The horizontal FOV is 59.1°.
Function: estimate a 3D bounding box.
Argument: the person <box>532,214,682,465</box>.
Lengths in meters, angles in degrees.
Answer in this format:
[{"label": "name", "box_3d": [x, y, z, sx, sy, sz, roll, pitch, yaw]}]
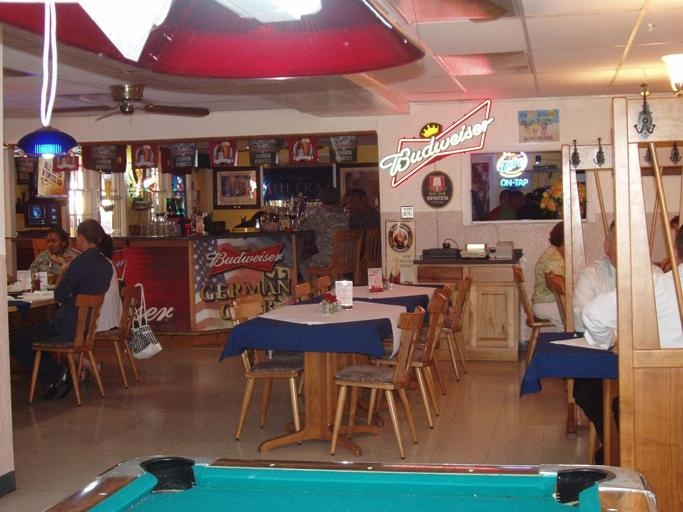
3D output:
[{"label": "person", "box_3d": [1.739, 0.546, 3.707, 0.576, 1.520, 1.170, 0, 4, 20]}]

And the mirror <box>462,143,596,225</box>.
[{"label": "mirror", "box_3d": [2.534, -0.980, 8.256, 1.791, 0.954, 0.075, 0, 6, 7]}]

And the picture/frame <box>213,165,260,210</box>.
[{"label": "picture/frame", "box_3d": [-2.521, -1.635, 14.666, 1.207, 0.909, 0.096, 2, 1, 20]}]
